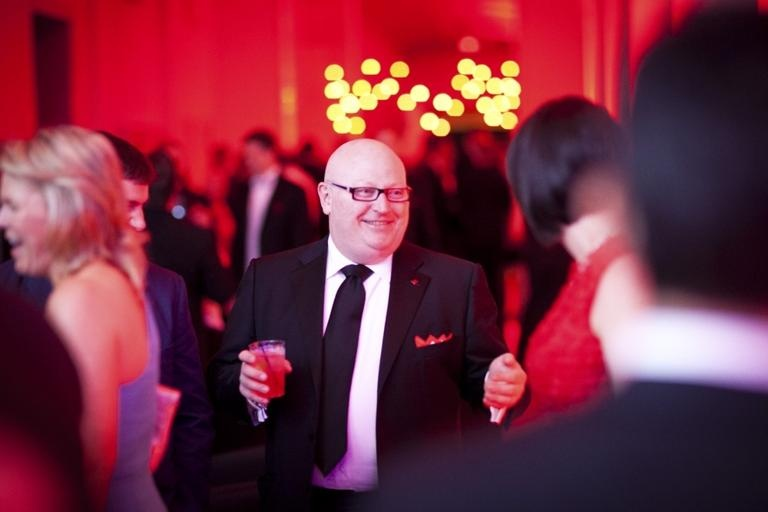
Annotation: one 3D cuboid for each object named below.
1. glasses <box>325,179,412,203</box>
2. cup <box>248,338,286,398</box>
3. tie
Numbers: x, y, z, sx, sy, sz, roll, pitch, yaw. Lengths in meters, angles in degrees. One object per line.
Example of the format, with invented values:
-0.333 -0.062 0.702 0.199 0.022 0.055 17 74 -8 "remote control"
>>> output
-0.073 -0.264 2.830 0.344 0.072 0.097 3 10 0 "glasses"
-0.453 0.438 2.662 0.137 0.227 0.098 1 10 -12 "cup"
-0.175 0.459 2.831 0.170 0.833 0.254 4 10 8 "tie"
